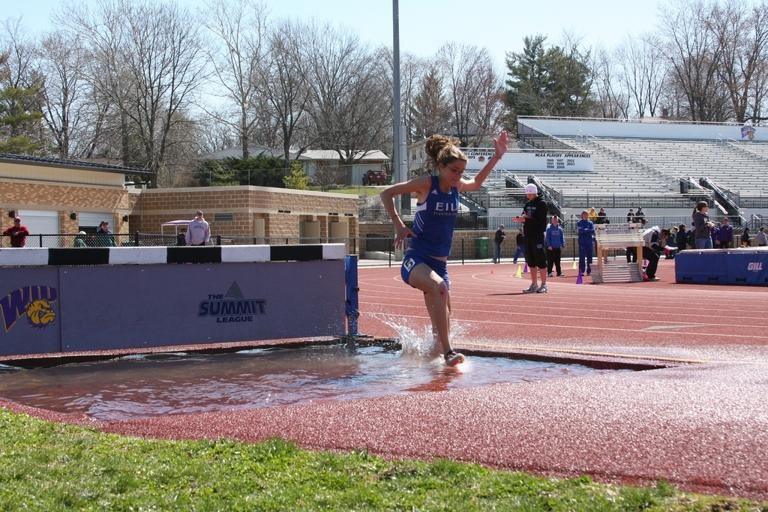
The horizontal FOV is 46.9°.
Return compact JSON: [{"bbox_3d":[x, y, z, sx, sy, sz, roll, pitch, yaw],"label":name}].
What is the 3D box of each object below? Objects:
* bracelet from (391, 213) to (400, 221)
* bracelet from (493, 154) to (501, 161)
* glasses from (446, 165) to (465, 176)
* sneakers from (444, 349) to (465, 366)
[{"bbox_3d":[0.140,-0.463,10.417,0.076,0.075,0.055,-41,17,-27],"label":"bracelet"},{"bbox_3d":[1.440,-1.242,11.225,0.071,0.087,0.094,0,-4,-14],"label":"bracelet"},{"bbox_3d":[0.813,-1.000,10.307,0.137,0.092,0.173,3,0,-37],"label":"glasses"},{"bbox_3d":[0.827,1.191,10.463,0.224,0.183,0.206,-1,2,0],"label":"sneakers"}]
